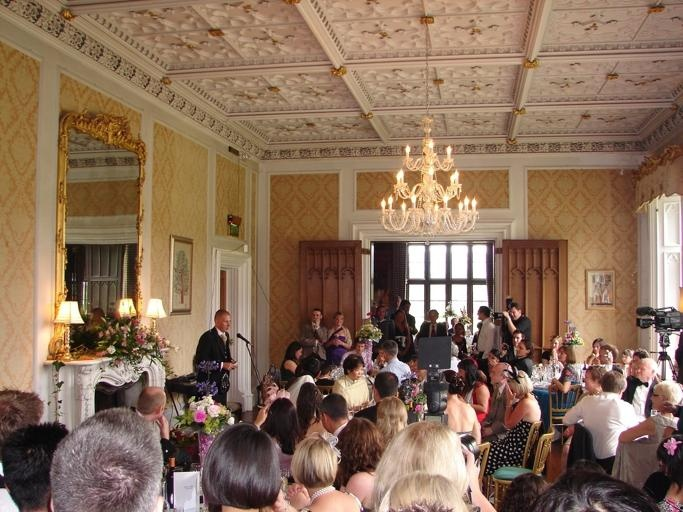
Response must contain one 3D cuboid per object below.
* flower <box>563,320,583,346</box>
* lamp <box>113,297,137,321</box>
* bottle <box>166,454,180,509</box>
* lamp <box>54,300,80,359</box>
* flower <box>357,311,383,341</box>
[{"bbox_3d":[4.076,1.376,9.882,0.226,0.413,0.310,-16,-7,42],"label":"flower"},{"bbox_3d":[-2.537,0.623,6.557,0.218,0.276,0.216,-3,3,-9],"label":"lamp"},{"bbox_3d":[-1.057,1.384,3.437,0.062,0.290,0.167,2,-7,-16],"label":"bottle"},{"bbox_3d":[-2.801,0.754,5.715,0.290,0.607,0.246,7,-9,-43],"label":"lamp"},{"bbox_3d":[0.518,1.276,9.934,0.385,0.436,0.382,-1,5,-14],"label":"flower"}]
